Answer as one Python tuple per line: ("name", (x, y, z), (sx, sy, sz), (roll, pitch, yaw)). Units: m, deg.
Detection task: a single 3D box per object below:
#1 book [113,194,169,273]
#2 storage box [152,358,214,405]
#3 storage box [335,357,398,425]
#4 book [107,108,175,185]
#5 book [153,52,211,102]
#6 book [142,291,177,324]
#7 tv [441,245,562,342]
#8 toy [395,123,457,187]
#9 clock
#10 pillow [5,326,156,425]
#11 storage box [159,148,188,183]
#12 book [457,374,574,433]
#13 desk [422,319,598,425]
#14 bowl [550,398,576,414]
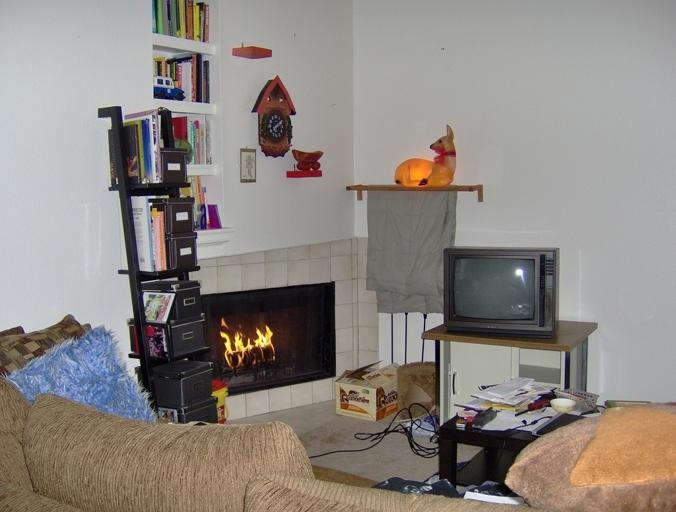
("book", (-1.004, -0.117, 3.273), (0.179, 0.405, 0.090), (-7, 10, -18))
("storage box", (-0.916, 0.728, 3.623), (0.251, 0.195, 0.256), (-2, -1, 32))
("storage box", (0.224, 1.068, 4.827), (0.404, 0.306, 0.426), (0, 2, 35))
("book", (-1.054, -0.569, 3.222), (0.369, 0.458, 0.244), (5, 10, 44))
("book", (-1.074, -1.180, 4.002), (0.238, 0.331, 0.456), (1, 10, 27))
("book", (-0.989, 0.296, 3.376), (0.155, 0.116, 0.013), (16, -6, 31))
("tv", (1.105, 0.246, 4.210), (0.962, 0.822, 0.531), (2, 2, 21))
("toy", (0.655, -0.759, 4.774), (0.495, 0.500, 0.389), (1, 9, 5))
("clock", (-0.459, -1.019, 4.456), (0.142, 0.565, 0.410), (2, 11, 32))
("pillow", (-0.834, 0.414, 2.046), (0.399, 0.131, 0.403), (40, 14, -46))
("storage box", (-0.886, -0.479, 3.307), (0.149, 0.200, 0.203), (-3, 5, -13))
("book", (0.824, 0.655, 2.889), (0.297, 0.091, 0.275), (-10, 12, -44))
("desk", (1.191, 0.972, 4.207), (1.060, 1.014, 0.693), (-2, -3, 30))
("bowl", (1.055, 0.704, 2.877), (0.075, 0.032, 0.076), (-3, 4, 0))
